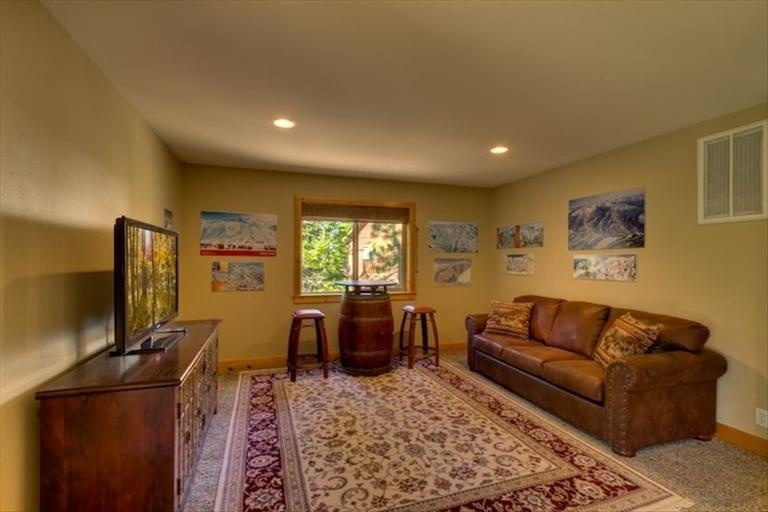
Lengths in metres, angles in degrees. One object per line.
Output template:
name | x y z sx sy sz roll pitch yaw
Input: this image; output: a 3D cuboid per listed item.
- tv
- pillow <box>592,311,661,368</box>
tv | -2.015 0.275 4.102 0.410 1.201 1.231 0 1 -8
pillow | 2.352 0.849 4.763 0.164 0.518 0.541 32 -2 -4
